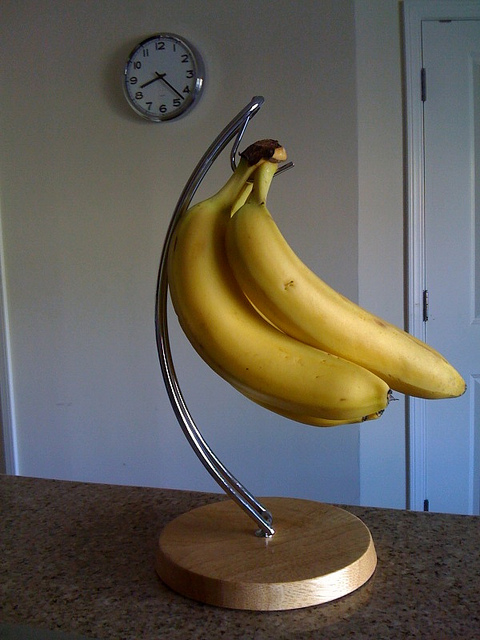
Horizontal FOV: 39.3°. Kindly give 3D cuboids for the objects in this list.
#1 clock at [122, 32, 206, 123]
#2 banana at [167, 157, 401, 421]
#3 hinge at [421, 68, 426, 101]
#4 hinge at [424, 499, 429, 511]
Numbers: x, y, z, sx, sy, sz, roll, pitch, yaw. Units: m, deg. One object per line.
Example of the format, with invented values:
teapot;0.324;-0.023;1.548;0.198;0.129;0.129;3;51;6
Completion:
clock;-0.242;-0.768;2.141;0.318;0.264;0.059;8;14;31
banana;0.025;-0.041;0.707;0.162;0.262;0.213;-7;13;-22
hinge;0.561;-0.720;2.055;0.014;0.096;0.013;-1;13;5
hinge;0.593;0.585;2.136;0.014;0.036;0.015;1;13;13
